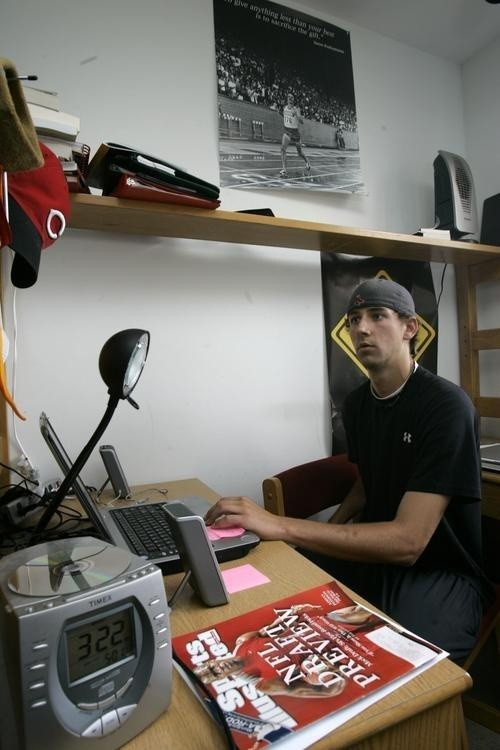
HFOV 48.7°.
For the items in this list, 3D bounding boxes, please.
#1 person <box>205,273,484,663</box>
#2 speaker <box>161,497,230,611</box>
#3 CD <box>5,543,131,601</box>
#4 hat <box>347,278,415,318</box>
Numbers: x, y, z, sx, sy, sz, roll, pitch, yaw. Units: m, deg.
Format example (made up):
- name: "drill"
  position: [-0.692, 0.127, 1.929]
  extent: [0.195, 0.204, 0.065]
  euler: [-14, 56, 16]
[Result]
- name: "person"
  position: [0.308, 0.117, 1.356]
  extent: [0.619, 0.832, 0.629]
  euler: [1, 10, -45]
- name: "speaker"
  position: [-0.068, 0.261, 0.873]
  extent: [0.124, 0.178, 0.132]
  euler: [-1, 2, -23]
- name: "CD"
  position: [-0.198, 0.209, 0.613]
  extent: [0.130, 0.015, 0.148]
  euler: [-5, 1, -25]
- name: "hat"
  position: [0.356, -0.204, 1.476]
  extent: [0.121, 0.072, 0.120]
  euler: [10, -9, -28]
